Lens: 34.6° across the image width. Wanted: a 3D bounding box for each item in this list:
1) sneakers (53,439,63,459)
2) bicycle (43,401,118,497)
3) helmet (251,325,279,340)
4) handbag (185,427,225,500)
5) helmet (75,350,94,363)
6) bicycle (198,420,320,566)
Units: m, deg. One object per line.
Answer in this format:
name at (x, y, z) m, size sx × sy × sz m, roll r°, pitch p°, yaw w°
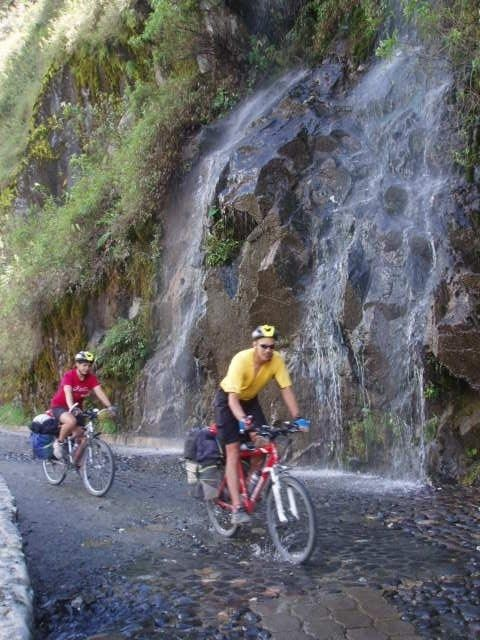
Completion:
sneakers at (-2.198, 1.559, 9.322) m, size 0.099 × 0.311 × 0.081 m, roll -2°, pitch 1°, yaw 43°
bicycle at (-1.870, 1.605, 9.066) m, size 0.393 × 0.982 × 1.543 m, roll 0°, pitch 0°, yaw -31°
helmet at (0.217, 0.109, 6.697) m, size 0.189 × 0.119 × 0.215 m, roll 0°, pitch 0°, yaw -7°
handbag at (-0.376, 1.218, 7.355) m, size 0.392 × 0.886 × 0.652 m, roll 0°, pitch 0°, yaw -9°
helmet at (-1.867, 0.454, 9.273) m, size 0.188 × 0.148 × 0.332 m, roll 0°, pitch 0°, yaw -8°
bicycle at (0.158, 1.529, 6.546) m, size 0.542 × 0.937 × 1.287 m, roll 5°, pitch -27°, yaw -25°
